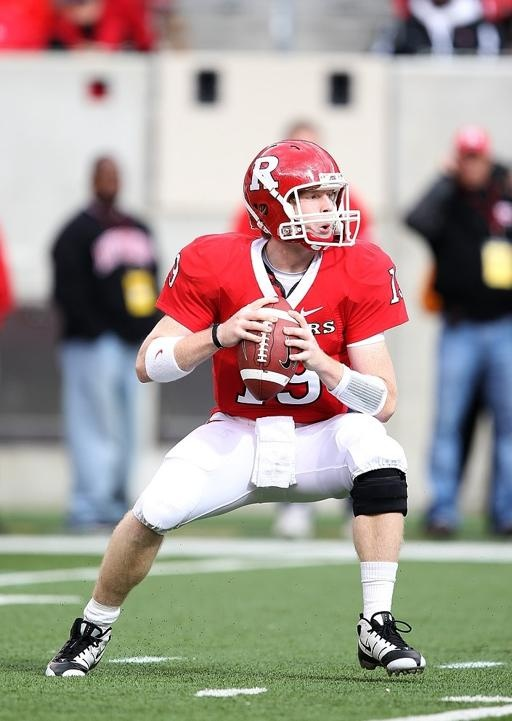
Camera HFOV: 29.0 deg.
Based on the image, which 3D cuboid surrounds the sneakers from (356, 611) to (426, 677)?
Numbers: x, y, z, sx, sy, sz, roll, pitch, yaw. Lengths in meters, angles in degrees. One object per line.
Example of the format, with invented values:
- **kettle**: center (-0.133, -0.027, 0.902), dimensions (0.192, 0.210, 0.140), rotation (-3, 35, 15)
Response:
- **sneakers**: center (0.293, 0.604, 2.139), dimensions (0.086, 0.108, 0.219), rotation (1, -9, -27)

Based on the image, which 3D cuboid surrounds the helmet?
- **helmet**: center (0.115, -0.393, 2.359), dimensions (0.315, 0.239, 0.234), rotation (8, 7, 41)

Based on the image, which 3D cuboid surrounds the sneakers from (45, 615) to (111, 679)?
- **sneakers**: center (-0.396, 0.636, 2.135), dimensions (0.100, 0.118, 0.160), rotation (0, 3, 17)

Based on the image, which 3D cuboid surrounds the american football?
- **american football**: center (0.038, -0.030, 2.189), dimensions (0.137, 0.207, 0.134), rotation (8, -15, 17)

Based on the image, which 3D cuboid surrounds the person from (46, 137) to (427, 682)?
- **person**: center (-0.007, 0.096, 2.274), dimensions (0.742, 1.234, 0.552), rotation (-1, 3, 7)
